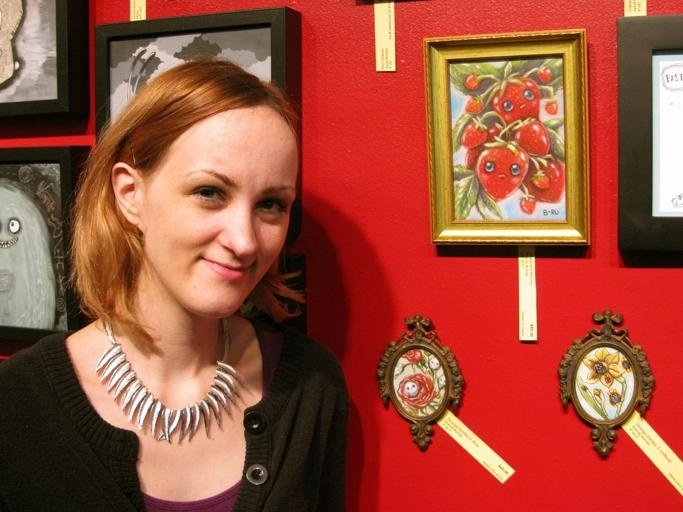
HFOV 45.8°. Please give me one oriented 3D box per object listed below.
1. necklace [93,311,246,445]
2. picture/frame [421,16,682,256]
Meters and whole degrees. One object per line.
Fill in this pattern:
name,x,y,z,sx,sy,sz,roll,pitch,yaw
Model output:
necklace,-0.356,0.273,1.749,0.237,0.024,0.293,-11,35,-23
picture/frame,0.499,-0.280,1.826,0.522,0.390,0.021,-1,2,17
